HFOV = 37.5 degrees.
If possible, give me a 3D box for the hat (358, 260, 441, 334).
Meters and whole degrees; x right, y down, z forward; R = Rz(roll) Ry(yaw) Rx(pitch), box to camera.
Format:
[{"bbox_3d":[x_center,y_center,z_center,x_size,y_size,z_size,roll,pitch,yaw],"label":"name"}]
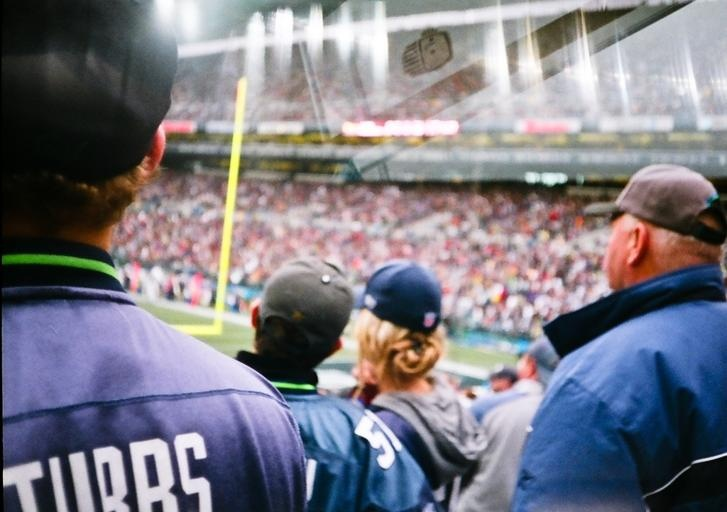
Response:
[{"bbox_3d":[0.112,0.098,2.734,0.155,0.110,0.198,2,15,-45],"label":"hat"}]
